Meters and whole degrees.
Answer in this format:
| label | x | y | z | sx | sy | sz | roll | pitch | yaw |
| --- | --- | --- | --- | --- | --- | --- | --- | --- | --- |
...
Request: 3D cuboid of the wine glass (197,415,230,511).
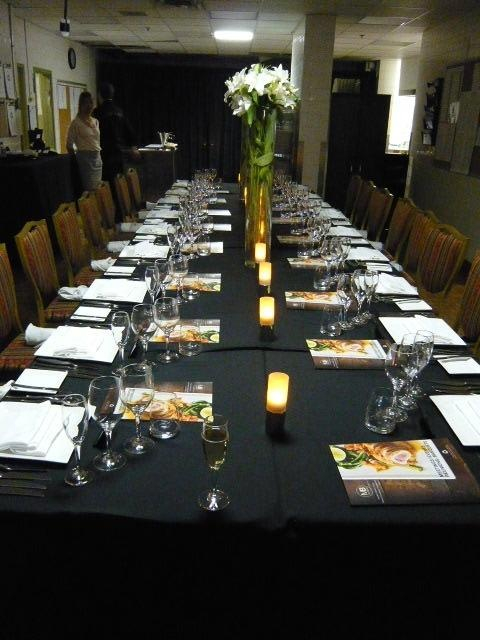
| label | x | y | z | sx | sy | sz | roll | pitch | yaw |
| --- | --- | --- | --- | --- | --- | --- | --- | --- | --- |
| wine glass | -0.051 | 0.284 | 0.848 | 0.068 | 0.172 | 0.069 | 5 | 35 | 5 |
